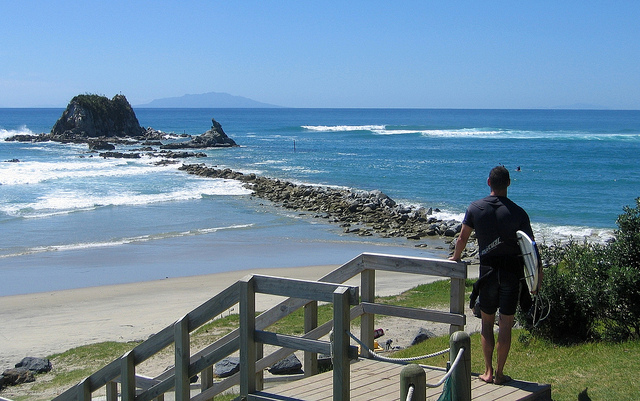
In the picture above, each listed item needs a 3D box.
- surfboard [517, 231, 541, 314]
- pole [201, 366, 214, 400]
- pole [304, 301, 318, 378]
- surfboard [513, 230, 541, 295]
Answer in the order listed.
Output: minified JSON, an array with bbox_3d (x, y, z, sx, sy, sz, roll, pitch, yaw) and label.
[{"bbox_3d":[3.590,1.253,9.709,0.392,1.448,0.416,0,11,-1],"label":"surfboard"},{"bbox_3d":[-2.239,3.538,11.320,0.204,0.535,0.360,-1,11,-10],"label":"pole"},{"bbox_3d":[-0.164,2.609,10.652,0.232,1.463,0.434,0,11,-3],"label":"pole"},{"bbox_3d":[3.560,1.007,9.593,0.394,0.952,0.388,-1,-1,2],"label":"surfboard"}]
